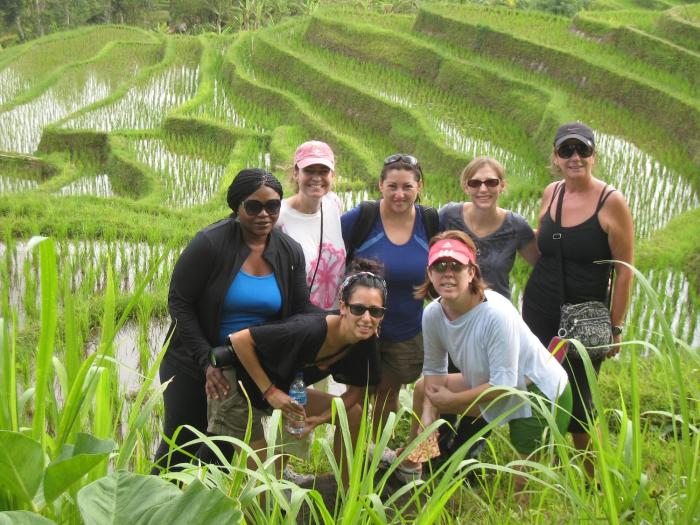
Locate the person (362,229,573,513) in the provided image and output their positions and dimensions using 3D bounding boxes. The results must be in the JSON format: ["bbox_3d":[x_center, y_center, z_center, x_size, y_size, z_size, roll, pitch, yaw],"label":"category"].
[{"bbox_3d":[0.672,0.590,3.427,0.632,1.516,0.986,7,-5,-42],"label":"person"}]

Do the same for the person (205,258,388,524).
[{"bbox_3d":[-0.269,0.692,3.503,0.980,1.630,0.829,10,10,3],"label":"person"}]

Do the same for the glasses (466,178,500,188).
[{"bbox_3d":[0.850,-0.507,3.904,0.202,0.067,0.059,2,-4,17],"label":"glasses"}]

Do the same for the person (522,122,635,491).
[{"bbox_3d":[1.303,0.405,3.779,0.729,2.424,0.736,-8,10,-36],"label":"person"}]

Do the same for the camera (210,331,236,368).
[{"bbox_3d":[-0.658,0.467,3.277,0.101,0.175,0.193,-7,-2,39],"label":"camera"}]

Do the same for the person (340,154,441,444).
[{"bbox_3d":[0.282,0.418,4.054,0.654,2.277,0.681,-2,17,-15],"label":"person"}]

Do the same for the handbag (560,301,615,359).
[{"bbox_3d":[1.377,0.390,3.627,0.368,0.408,0.112,-5,-49,30],"label":"handbag"}]

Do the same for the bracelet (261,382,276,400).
[{"bbox_3d":[-0.423,0.664,3.183,0.017,0.065,0.065,37,-3,-5],"label":"bracelet"}]

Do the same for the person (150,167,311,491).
[{"bbox_3d":[-0.557,0.531,3.502,0.991,2.063,0.728,5,4,0],"label":"person"}]

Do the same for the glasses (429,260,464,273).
[{"bbox_3d":[0.526,0.018,3.262,0.176,0.065,0.040,3,-4,8],"label":"glasses"}]
